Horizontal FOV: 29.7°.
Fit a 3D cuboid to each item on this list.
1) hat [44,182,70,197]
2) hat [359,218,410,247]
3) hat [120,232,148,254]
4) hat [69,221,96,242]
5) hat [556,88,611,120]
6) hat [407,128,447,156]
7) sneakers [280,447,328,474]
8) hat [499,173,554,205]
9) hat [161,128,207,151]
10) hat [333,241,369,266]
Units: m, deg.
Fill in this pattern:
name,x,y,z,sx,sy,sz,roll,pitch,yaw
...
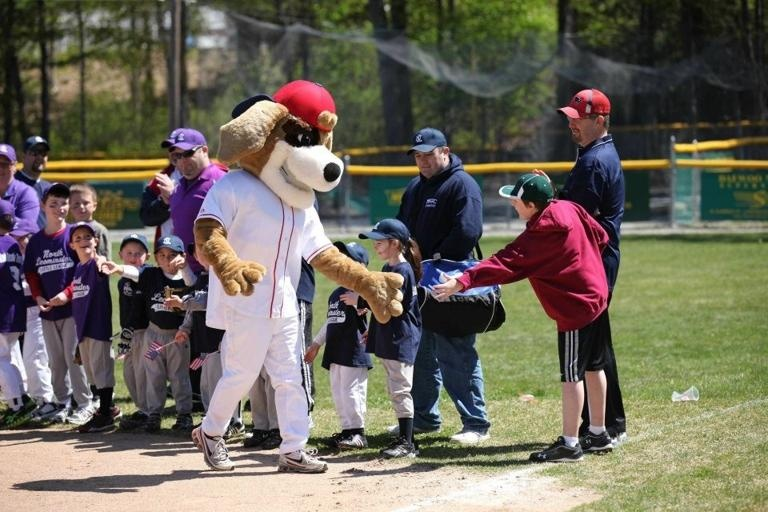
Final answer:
name,x,y,z,sx,sy,sz,roll,pitch,yaw
hat,-4.225,-0.852,18.733,0.346,0.186,0.217,-3,2,-12
hat,0.057,-0.300,17.727,0.495,0.250,0.324,0,1,-10
hat,-3.226,-0.170,18.712,0.349,0.194,0.393,-3,2,-12
hat,-3.870,-0.313,18.620,0.225,0.297,0.301,-1,34,-23
hat,2.526,-1.888,17.837,0.527,0.273,0.343,3,9,-3
hat,0.581,-1.458,18.181,0.410,0.230,0.289,-5,6,-41
sneakers,-0.957,2.461,17.359,0.620,0.284,0.242,0,2,3
hat,1.697,-0.784,17.466,0.672,0.324,0.421,2,-10,0
hat,-2.483,-1.502,18.535,0.322,0.182,0.479,1,5,17
hat,-0.381,-0.069,17.981,0.394,0.222,0.264,35,-7,-18
